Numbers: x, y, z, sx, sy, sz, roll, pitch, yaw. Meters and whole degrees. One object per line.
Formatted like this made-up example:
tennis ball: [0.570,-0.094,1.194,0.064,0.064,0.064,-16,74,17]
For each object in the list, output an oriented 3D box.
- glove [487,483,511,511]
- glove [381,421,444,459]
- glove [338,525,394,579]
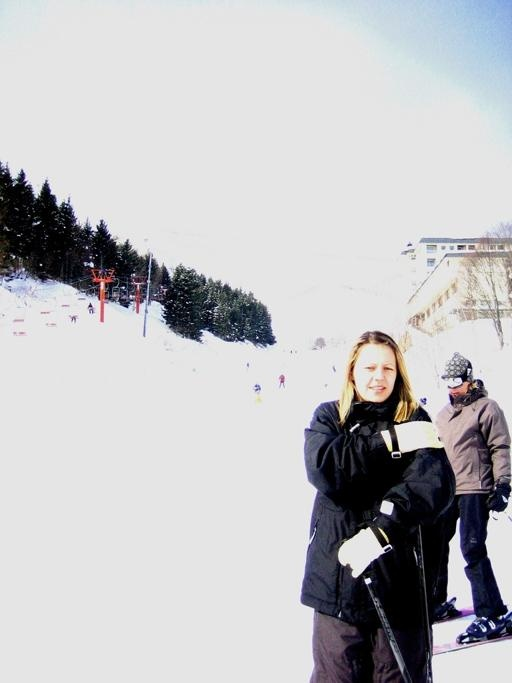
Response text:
glove: [1.286,0.837,3.456,0.052,0.162,0.104,25,-26,-17]
glove: [0.474,0.298,1.980,0.128,0.126,0.058,-12,-2,5]
glove: [0.324,0.653,1.993,0.132,0.170,0.046,47,16,6]
